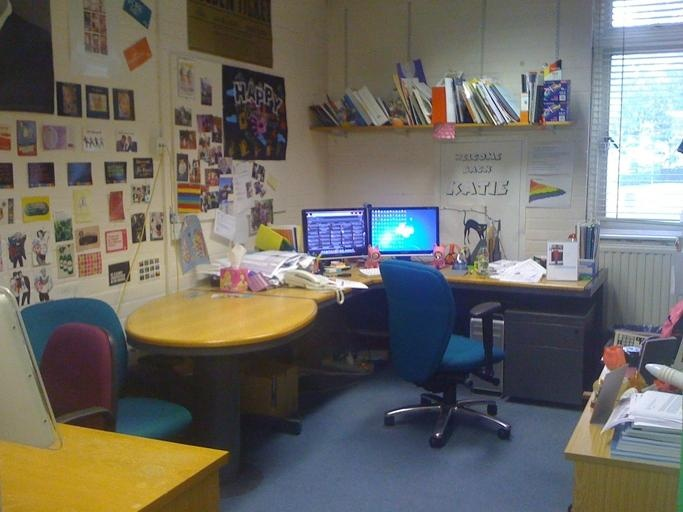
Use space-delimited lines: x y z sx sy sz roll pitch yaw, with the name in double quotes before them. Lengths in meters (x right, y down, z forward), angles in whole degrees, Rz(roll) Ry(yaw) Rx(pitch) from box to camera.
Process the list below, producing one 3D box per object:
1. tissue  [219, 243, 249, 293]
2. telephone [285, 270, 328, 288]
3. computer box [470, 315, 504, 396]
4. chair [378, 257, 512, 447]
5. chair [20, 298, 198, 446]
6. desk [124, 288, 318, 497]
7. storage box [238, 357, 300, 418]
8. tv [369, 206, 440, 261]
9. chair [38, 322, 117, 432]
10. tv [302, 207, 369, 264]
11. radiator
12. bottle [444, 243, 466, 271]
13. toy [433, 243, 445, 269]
"tissue " -0.651 0.065 3.304 0.161 0.288 0.171 5 6 -7
"telephone" -0.222 0.140 3.358 0.273 0.103 0.140 -1 12 -6
"computer box" 1.048 0.688 3.877 0.268 0.587 0.344 3 14 28
"chair" 0.657 0.534 3.275 0.703 1.078 0.754 2 9 27
"chair" -1.012 0.480 2.666 0.671 0.908 0.635 -4 -2 37
"desk" -0.549 0.512 2.825 0.923 0.780 0.843 3 8 24
"storage box" -0.433 0.816 3.405 0.387 0.272 0.319 -3 2 41
"tv" 0.476 -0.186 4.156 0.371 0.295 0.041 0 2 1
"chair" -1.030 0.473 2.139 0.260 0.341 0.473 -7 14 -31
"tv" -0.052 -0.158 4.023 0.376 0.310 0.048 -1 1 -14
"radiator" 2.050 0.223 3.739 0.592 0.678 0.044 2 7 20
"bottle" 0.860 0.009 4.079 0.174 0.203 0.169 0 2 16
"toy" 0.730 0.005 4.062 0.120 0.207 0.133 0 -2 13
